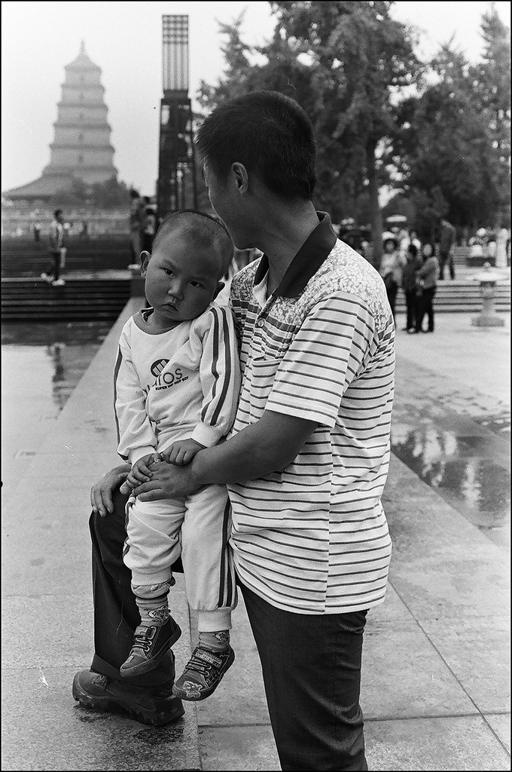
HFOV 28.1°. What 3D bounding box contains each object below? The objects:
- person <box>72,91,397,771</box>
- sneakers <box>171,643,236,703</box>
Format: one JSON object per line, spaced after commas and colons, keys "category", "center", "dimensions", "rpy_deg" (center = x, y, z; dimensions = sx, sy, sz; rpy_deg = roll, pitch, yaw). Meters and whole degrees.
{"category": "person", "center": [-0.032, 0.096, 2.539], "dimensions": [0.779, 1.577, 0.365], "rpy_deg": [10, 13, 41]}
{"category": "sneakers", "center": [-0.131, 0.717, 2.601], "dimensions": [0.076, 0.089, 0.220], "rpy_deg": [6, 17, 19]}
